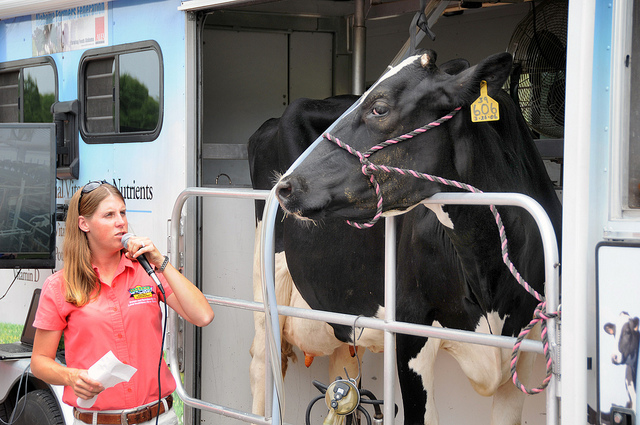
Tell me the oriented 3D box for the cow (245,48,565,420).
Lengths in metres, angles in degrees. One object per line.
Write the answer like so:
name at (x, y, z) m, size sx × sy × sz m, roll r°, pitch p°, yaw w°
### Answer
cow at (0.291, 0.171, 5.567) m, size 1.535 × 2.244 × 3.599 m, roll 2°, pitch -7°, yaw -20°

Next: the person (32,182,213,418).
person at (-1.209, 0.555, 4.574) m, size 0.959 × 1.141 × 0.494 m, roll 1°, pitch -1°, yaw -24°

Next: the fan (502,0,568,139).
fan at (1.640, -1.108, 5.758) m, size 0.417 × 1.062 × 0.294 m, roll 1°, pitch -1°, yaw 17°
